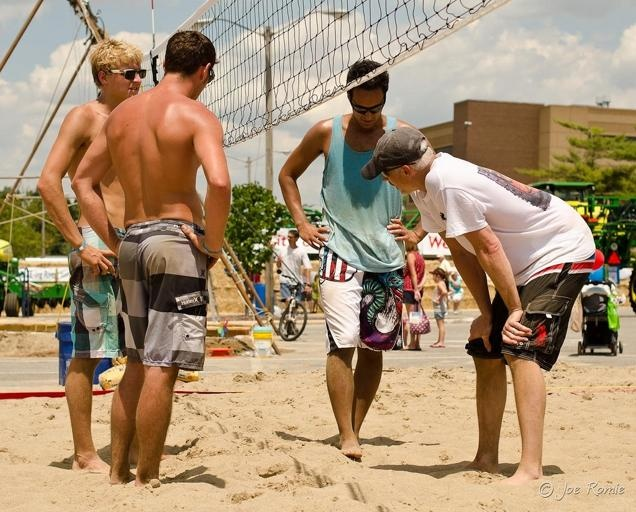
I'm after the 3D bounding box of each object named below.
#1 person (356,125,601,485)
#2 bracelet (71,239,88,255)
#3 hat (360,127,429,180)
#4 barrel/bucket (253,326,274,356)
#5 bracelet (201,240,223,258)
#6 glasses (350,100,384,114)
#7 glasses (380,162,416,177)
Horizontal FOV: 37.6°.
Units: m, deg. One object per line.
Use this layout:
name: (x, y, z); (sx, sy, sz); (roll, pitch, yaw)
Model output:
person: (1.068, 0.253, 5.766); (1.278, 2.191, 0.659); (0, -1, 12)
bracelet: (-1.512, -0.052, 5.958); (0.097, 0.029, 0.078); (-36, 9, 1)
hat: (0.485, -0.634, 5.820); (0.364, 0.255, 0.219); (-20, -49, 24)
barrel/bucket: (-0.703, 1.073, 11.968); (0.332, 0.456, 0.313); (-1, -5, 0)
bracelet: (-0.629, -0.045, 5.590); (0.104, 0.102, 0.194); (0, -1, 6)
glasses: (0.335, -1.005, 6.266); (0.210, 0.093, 0.173); (0, -1, 1)
glasses: (0.469, -0.547, 5.734); (0.129, 0.070, 0.102); (0, 14, 17)
